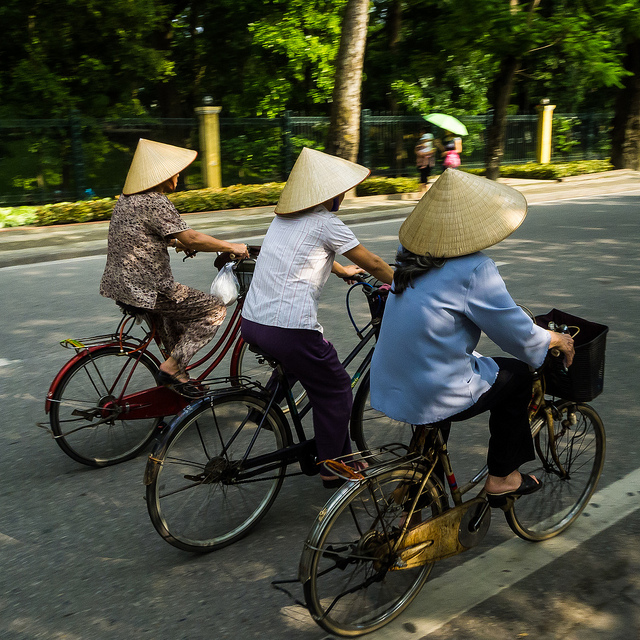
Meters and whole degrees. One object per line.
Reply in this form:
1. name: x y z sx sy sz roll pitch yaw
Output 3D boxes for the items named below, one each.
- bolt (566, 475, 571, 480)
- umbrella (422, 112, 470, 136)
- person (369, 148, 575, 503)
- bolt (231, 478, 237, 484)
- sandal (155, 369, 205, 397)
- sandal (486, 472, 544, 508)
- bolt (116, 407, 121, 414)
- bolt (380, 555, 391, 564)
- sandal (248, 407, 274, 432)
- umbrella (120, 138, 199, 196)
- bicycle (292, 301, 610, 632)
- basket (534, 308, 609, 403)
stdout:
1. bolt: 1.206 0.769 3.521 0.030 0.027 0.009 -7 36 9
2. umbrella: 2.869 -4.541 16.702 0.839 0.584 1.901 5 11 5
3. person: 0.571 0.114 2.832 0.715 1.380 0.361 5 15 0
4. bolt: -0.402 0.755 3.401 0.020 0.029 0.008 5 15 1
5. sandal: -0.812 0.370 4.180 0.278 0.079 0.077 22 30 -9
6. sandal: 0.826 0.730 3.125 0.331 0.080 0.108 -10 17 -19
7. bolt: -1.164 0.524 4.201 0.041 0.033 0.013 1 -6 -7
8. bolt: 0.255 0.930 2.813 0.049 0.022 0.009 0 5 -4
9. sandal: -0.289 0.481 3.485 0.130 0.046 0.102 38 -15 -24
10. umbrella: -0.917 -0.871 4.164 0.370 0.325 0.377 3 12 -5
11. bicycle: 0.464 0.601 3.611 2.276 0.964 0.914 -15 21 -34
12. basket: 1.069 0.192 3.167 0.321 0.417 0.408 6 13 6
